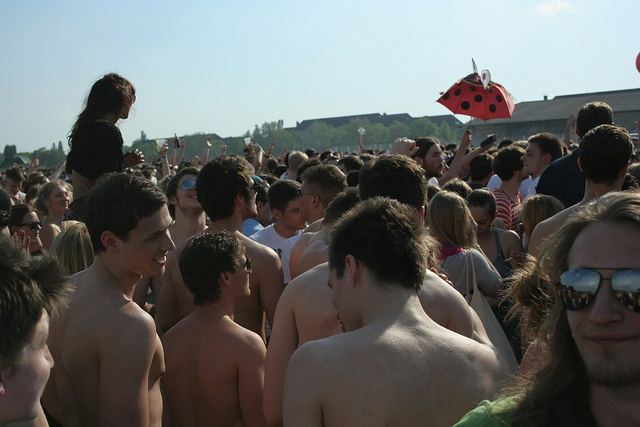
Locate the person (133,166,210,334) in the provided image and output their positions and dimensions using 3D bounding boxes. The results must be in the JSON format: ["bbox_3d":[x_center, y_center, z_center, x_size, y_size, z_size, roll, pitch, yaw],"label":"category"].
[{"bbox_3d":[-1.418,0.356,6.012,0.893,1.704,0.437,14,-34,-18],"label":"person"}]

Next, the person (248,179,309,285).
[{"bbox_3d":[-0.370,0.117,6.312,0.905,0.995,0.418,-4,17,-45],"label":"person"}]

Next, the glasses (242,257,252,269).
[{"bbox_3d":[-0.549,0.367,4.502,0.059,0.083,0.085,2,10,4],"label":"glasses"}]

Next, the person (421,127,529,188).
[{"bbox_3d":[1.978,-0.806,8.517,1.599,0.808,1.107,-8,6,-24],"label":"person"}]
